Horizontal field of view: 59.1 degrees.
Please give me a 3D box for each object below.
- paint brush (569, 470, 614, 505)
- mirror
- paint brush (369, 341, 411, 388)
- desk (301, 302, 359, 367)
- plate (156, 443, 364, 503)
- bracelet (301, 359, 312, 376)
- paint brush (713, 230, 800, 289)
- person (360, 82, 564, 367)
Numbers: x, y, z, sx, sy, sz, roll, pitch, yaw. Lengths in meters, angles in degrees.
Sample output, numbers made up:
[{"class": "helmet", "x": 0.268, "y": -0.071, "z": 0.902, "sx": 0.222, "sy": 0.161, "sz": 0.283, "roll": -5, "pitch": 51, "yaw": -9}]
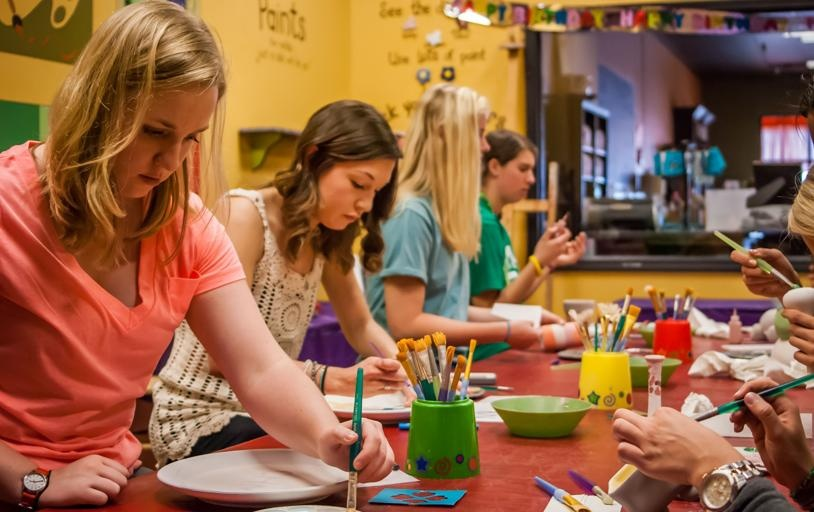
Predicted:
[{"class": "paint brush", "x": 0.399, "y": 0.508, "z": 1.561, "sx": 0.020, "sy": 0.025, "sz": 0.144, "roll": -8, "pitch": 11, "yaw": -19}, {"class": "mirror", "x": 1.695, "y": -0.805, "z": 4.799, "sx": 1.985, "sy": 1.422, "sz": 0.101, "roll": 0, "pitch": -4, "yaw": -20}, {"class": "paint brush", "x": -0.056, "y": 0.336, "z": 2.175, "sx": 0.113, "sy": 0.155, "sz": 0.052, "roll": -13, "pitch": -5, "yaw": 1}, {"class": "desk", "x": -0.431, "y": 0.444, "z": 4.008, "sx": 0.354, "sy": 0.253, "sz": 0.350, "roll": 2, "pitch": -4, "yaw": -26}, {"class": "plate", "x": -0.325, "y": 0.493, "z": 1.572, "sx": 0.394, "sy": 0.061, "sz": 0.254, "roll": 3, "pitch": 4, "yaw": 24}, {"class": "bracelet", "x": -0.306, "y": 0.356, "z": 2.265, "sx": 0.039, "sy": 0.038, "sz": 0.040, "roll": -9, "pitch": -13, "yaw": 29}, {"class": "paint brush", "x": 1.883, "y": 0.029, "z": 3.884, "sx": 0.624, "sy": 0.070, "sz": 0.053, "roll": 41, "pitch": -35, "yaw": -22}, {"class": "person", "x": 0.227, "y": 0.010, "z": 3.087, "sx": 0.718, "sy": 1.313, "sz": 0.665, "roll": 5, "pitch": 4, "yaw": 22}]
